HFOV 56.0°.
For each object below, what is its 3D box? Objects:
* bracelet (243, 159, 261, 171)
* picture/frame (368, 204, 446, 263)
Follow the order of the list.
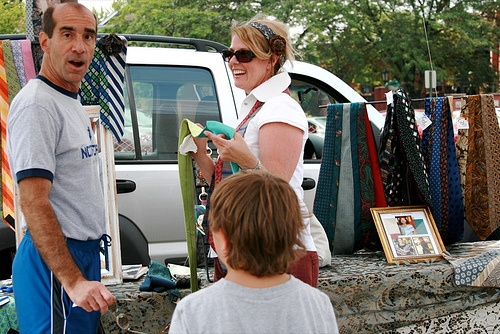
[{"bbox_3d":[0.032,-0.018,2.648,0.053,0.023,0.057,-14,-13,-36],"label":"bracelet"},{"bbox_3d":[1.371,0.575,4.119,0.523,0.547,0.041,-1,-32,-14],"label":"picture/frame"}]
